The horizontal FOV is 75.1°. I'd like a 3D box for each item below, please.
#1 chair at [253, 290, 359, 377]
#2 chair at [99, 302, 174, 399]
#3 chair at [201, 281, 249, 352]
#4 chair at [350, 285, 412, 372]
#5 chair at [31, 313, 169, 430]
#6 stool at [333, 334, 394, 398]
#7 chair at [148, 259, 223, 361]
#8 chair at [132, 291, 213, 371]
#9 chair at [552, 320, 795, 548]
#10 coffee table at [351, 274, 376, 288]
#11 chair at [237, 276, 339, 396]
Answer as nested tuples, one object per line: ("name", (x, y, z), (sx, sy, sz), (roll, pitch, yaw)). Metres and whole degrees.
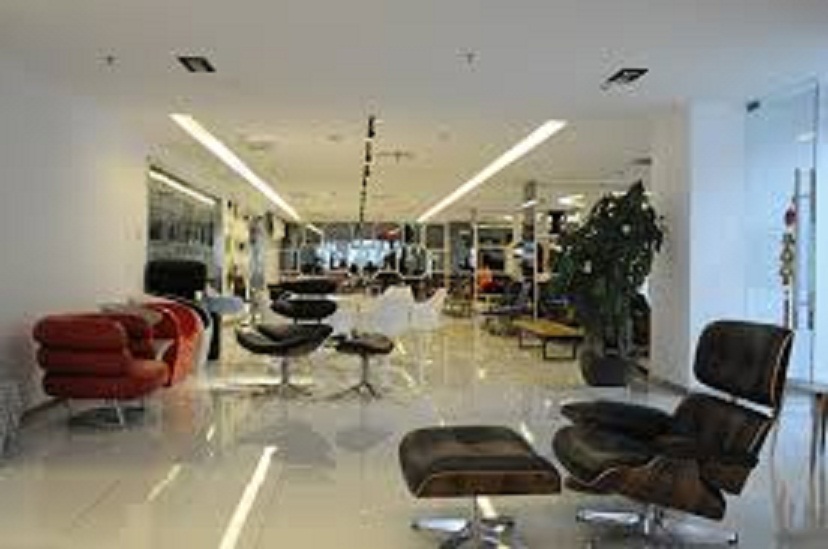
("chair", (-1.575, 0.850, 7.786), (1.441, 1.338, 1.166), (0, -5, 1))
("chair", (-3.254, 0.797, 6.350), (1.082, 0.976, 0.913), (1, -2, -17))
("chair", (-3.215, 0.706, 9.193), (0.742, 0.880, 0.758), (5, 0, -10))
("chair", (-0.333, 0.737, 7.814), (0.928, 1.139, 0.873), (-18, 22, -39))
("chair", (-3.306, 0.960, 5.740), (1.220, 0.920, 1.163), (1, -2, -15))
("stool", (-0.554, 1.077, 6.466), (0.775, 0.607, 0.737), (2, 0, 4))
("chair", (-3.732, 0.540, 8.355), (1.084, 1.542, 0.979), (1, 4, -39))
("chair", (-3.393, 0.860, 7.749), (1.111, 1.086, 1.094), (-1, -22, -14))
("chair", (1.829, 1.065, 4.315), (1.766, 1.757, 1.701), (1, -3, -6))
("coffee table", (-1.897, 0.236, 20.879), (0.745, 0.769, 0.684), (2, -1, -7))
("chair", (-1.472, 0.690, 6.512), (1.194, 1.228, 1.165), (-1, 0, 32))
